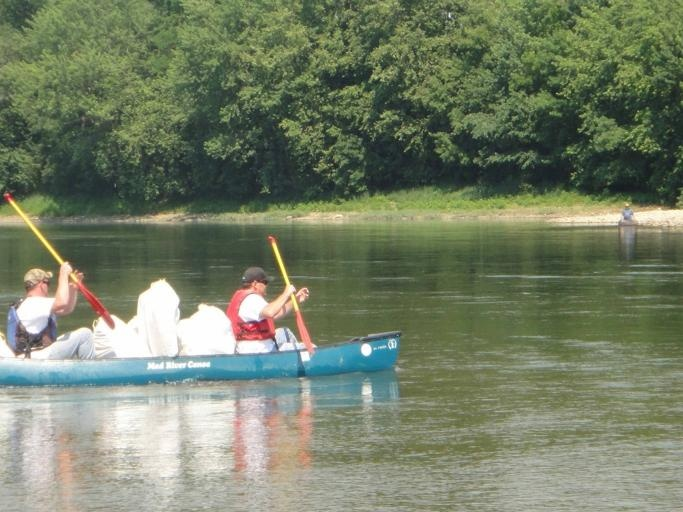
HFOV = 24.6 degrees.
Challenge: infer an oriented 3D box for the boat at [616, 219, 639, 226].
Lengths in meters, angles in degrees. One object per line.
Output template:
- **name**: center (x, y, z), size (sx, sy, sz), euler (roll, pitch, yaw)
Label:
- **boat**: center (14.390, -1.687, 79.566), size (0.925, 0.429, 0.730), euler (0, 10, 27)
